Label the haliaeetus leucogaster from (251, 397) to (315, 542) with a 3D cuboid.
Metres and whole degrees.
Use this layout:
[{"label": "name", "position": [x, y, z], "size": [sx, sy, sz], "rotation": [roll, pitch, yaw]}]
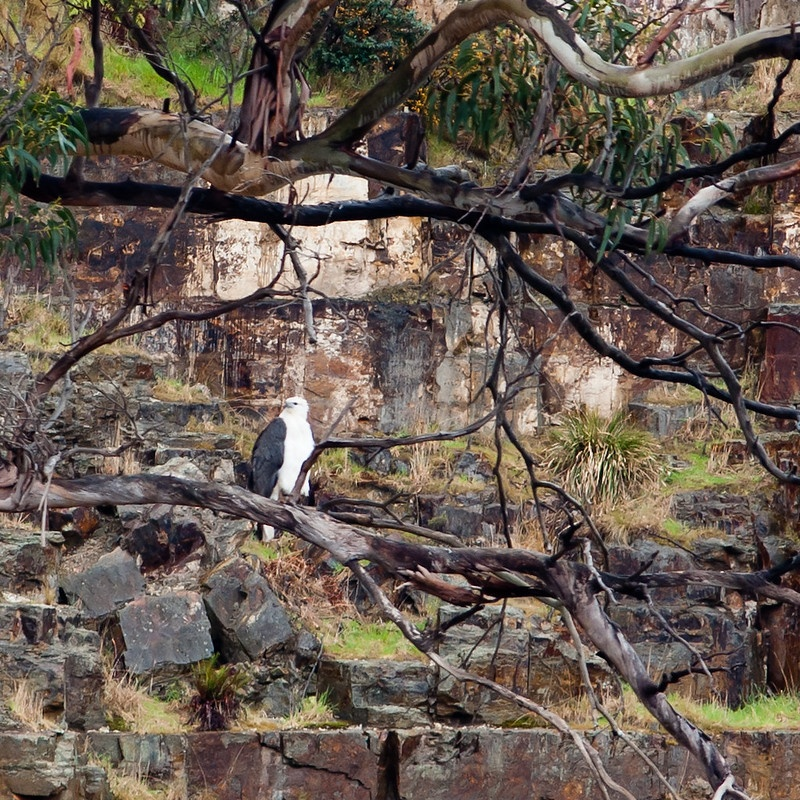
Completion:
[{"label": "haliaeetus leucogaster", "position": [-0.994, 0.617, 18.394], "size": [0.473, 1.196, 0.510], "rotation": [-11, -51, 7]}]
